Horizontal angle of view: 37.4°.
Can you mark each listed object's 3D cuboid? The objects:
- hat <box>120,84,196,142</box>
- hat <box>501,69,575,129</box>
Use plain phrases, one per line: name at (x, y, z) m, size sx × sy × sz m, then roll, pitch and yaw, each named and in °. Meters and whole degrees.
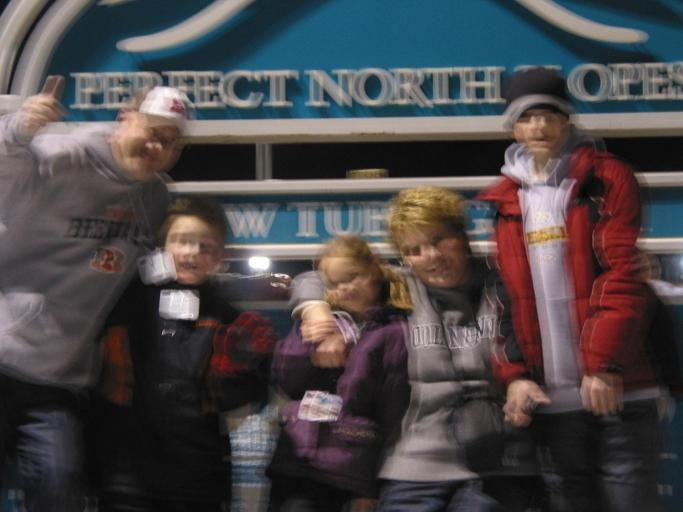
hat at (-0.986, -0.849, 5.697) m, size 0.334 × 0.244 × 0.475 m, roll 12°, pitch 9°, yaw -31°
hat at (1.046, -0.812, 5.413) m, size 0.319 × 0.269 × 0.349 m, roll -3°, pitch 1°, yaw 4°
